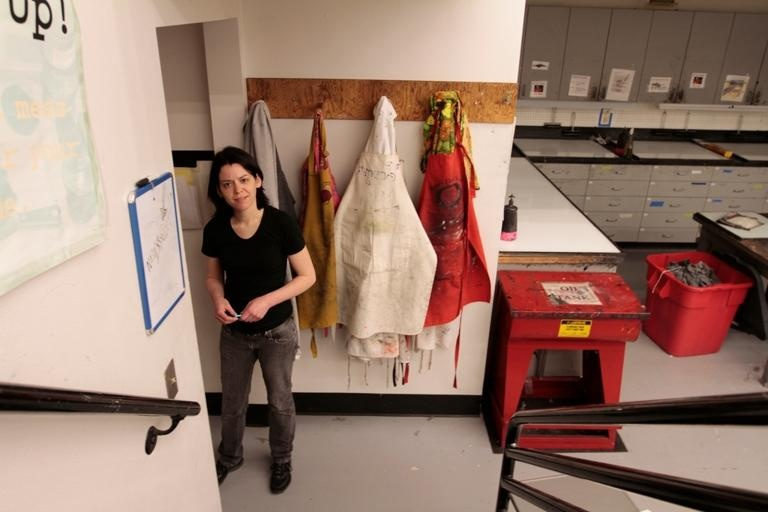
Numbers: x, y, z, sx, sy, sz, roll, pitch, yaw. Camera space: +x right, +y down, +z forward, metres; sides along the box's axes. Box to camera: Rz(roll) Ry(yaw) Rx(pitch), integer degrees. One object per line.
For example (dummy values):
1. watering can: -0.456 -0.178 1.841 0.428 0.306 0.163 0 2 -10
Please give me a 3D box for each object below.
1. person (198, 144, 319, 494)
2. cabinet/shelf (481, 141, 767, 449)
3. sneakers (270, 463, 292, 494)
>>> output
1. person: -0.679 0.412 2.677 0.625 1.937 0.449 -6 24 -16
2. cabinet/shelf: 1.299 0.329 3.419 1.178 1.212 1.915 3 28 5
3. sneakers: -0.602 1.304 2.919 0.083 0.082 0.194 0 11 -2
